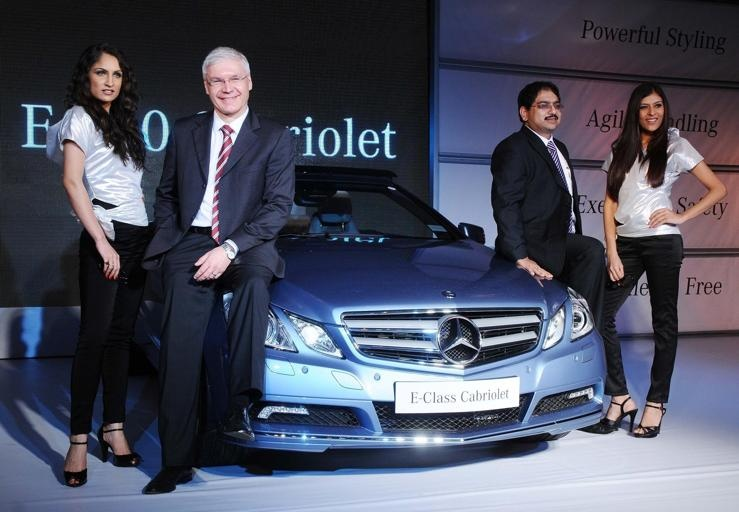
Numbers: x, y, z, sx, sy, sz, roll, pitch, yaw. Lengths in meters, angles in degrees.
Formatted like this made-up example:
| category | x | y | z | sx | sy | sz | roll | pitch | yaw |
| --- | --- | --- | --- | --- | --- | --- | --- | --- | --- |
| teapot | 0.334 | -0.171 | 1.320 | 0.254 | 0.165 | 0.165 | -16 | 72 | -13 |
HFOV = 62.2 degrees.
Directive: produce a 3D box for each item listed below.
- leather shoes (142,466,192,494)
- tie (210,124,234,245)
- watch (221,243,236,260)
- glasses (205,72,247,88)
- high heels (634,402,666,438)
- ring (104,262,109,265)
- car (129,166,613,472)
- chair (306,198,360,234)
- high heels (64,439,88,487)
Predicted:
| category | x | y | z | sx | sy | sz | roll | pitch | yaw |
| --- | --- | --- | --- | --- | --- | --- | --- | --- | --- |
| leather shoes | -1.049 | 1.169 | 3.203 | 0.097 | 0.106 | 0.248 | -2 | -5 | 40 |
| tie | -0.805 | -0.375 | 3.368 | 0.097 | 0.688 | 0.083 | 3 | -3 | -5 |
| watch | -0.742 | -0.027 | 3.226 | 0.085 | 0.096 | 0.042 | -1 | 4 | -13 |
| glasses | -0.774 | -0.954 | 3.323 | 0.201 | 0.065 | 0.048 | 0 | 4 | -12 |
| high heels | 1.851 | 1.071 | 4.037 | 0.259 | 0.212 | 0.128 | -1 | 4 | -25 |
| ring | -1.461 | 0.039 | 3.384 | 0.016 | 0.011 | 0.022 | 3 | -26 | -7 |
| car | -0.324 | 0.170 | 4.999 | 2.510 | 1.773 | 4.059 | 1 | 4 | -21 |
| chair | -0.262 | -0.288 | 4.469 | 0.305 | 0.306 | 0.280 | 1 | 1 | -9 |
| high heels | -1.596 | 1.137 | 3.351 | 0.093 | 0.118 | 0.292 | 4 | 8 | -19 |
